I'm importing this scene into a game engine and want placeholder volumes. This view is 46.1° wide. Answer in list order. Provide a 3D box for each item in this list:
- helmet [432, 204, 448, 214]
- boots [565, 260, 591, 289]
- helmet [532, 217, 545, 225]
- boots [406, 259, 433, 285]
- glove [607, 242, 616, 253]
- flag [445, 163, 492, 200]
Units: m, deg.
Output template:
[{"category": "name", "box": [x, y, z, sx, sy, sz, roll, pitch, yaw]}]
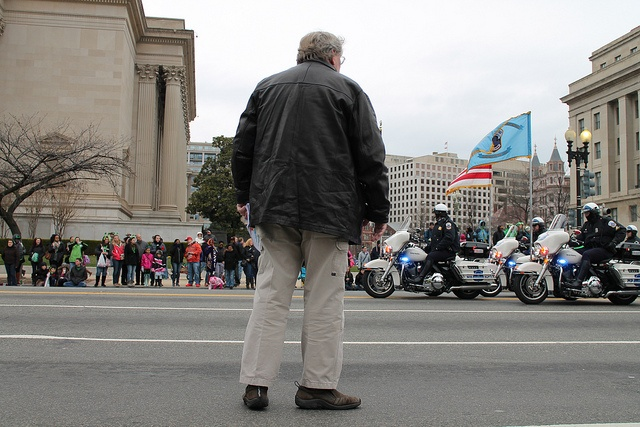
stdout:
[{"category": "helmet", "box": [3.338, -0.117, 20.825, 0.301, 0.254, 0.329, 3, 8, 3]}, {"category": "boots", "box": [6.926, 1.619, 19.994, 0.685, 0.768, 0.264, -1, 4, -19]}, {"category": "helmet", "box": [6.754, 0.249, 23.165, 0.340, 0.331, 0.266, 3, -1, -21]}, {"category": "boots", "box": [2.812, 1.663, 20.962, 0.350, 1.077, 0.449, 31, 16, 15]}, {"category": "glove", "box": [7.858, 0.927, 20.078, 0.312, 0.303, 0.114, -2, 5, -36]}, {"category": "flag", "box": [5.956, -1.403, 29.966, 1.439, 1.063, 2.446, 1, 4, -2]}]
